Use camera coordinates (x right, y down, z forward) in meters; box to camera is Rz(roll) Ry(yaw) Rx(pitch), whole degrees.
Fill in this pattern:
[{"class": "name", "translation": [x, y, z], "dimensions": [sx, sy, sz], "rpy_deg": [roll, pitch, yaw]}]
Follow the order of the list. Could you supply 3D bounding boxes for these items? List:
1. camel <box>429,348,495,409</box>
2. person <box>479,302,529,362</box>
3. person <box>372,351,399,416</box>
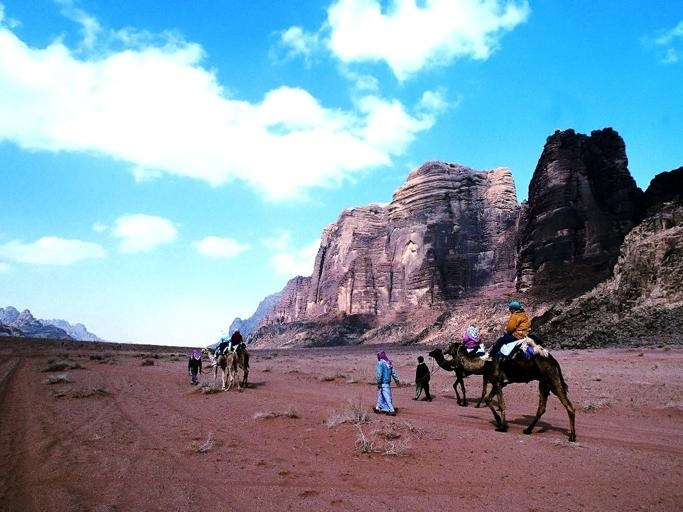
[{"class": "camel", "translation": [4.395, 4.559, 19.081], "dimensions": [1.946, 2.507, 1.933], "rpy_deg": [-3, -4, 29]}, {"class": "person", "translation": [5.412, 2.210, 15.989], "dimensions": [0.977, 1.877, 1.336], "rpy_deg": [-1, 2, -23]}, {"class": "person", "translation": [1.451, 4.251, 17.513], "dimensions": [1.085, 2.071, 0.793], "rpy_deg": [0, -1, 22]}]
